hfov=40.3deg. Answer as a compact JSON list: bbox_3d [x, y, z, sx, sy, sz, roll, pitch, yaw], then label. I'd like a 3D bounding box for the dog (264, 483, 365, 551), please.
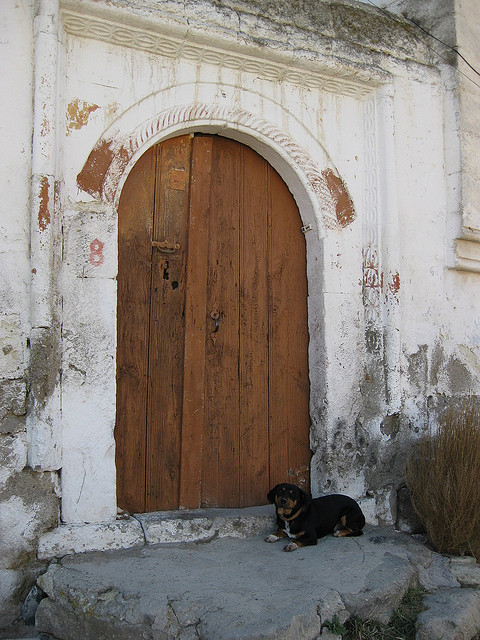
[{"bbox_3d":[0.409,1.051,3.620,0.649,0.398,0.245,5,-11,-38],"label":"dog"}]
